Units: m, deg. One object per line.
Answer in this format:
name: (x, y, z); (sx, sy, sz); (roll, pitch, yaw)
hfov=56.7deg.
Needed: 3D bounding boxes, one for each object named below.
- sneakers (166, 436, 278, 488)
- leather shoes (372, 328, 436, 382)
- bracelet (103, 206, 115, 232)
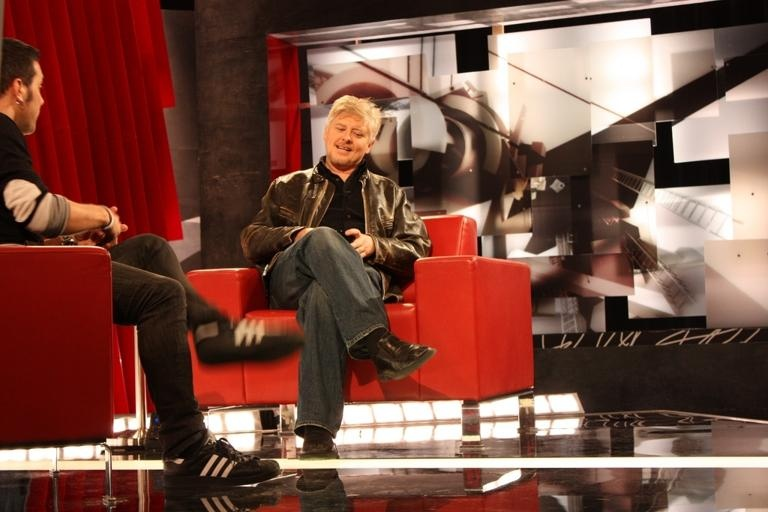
sneakers: (-0.575, 0.753, 2.650); (0.428, 0.167, 0.153); (1, -2, -10)
leather shoes: (0.069, 0.396, 2.871); (0.264, 0.114, 0.137); (-18, 11, 45)
bracelet: (-1.059, -0.155, 2.744); (0.031, 0.076, 0.068); (1, -14, -30)
